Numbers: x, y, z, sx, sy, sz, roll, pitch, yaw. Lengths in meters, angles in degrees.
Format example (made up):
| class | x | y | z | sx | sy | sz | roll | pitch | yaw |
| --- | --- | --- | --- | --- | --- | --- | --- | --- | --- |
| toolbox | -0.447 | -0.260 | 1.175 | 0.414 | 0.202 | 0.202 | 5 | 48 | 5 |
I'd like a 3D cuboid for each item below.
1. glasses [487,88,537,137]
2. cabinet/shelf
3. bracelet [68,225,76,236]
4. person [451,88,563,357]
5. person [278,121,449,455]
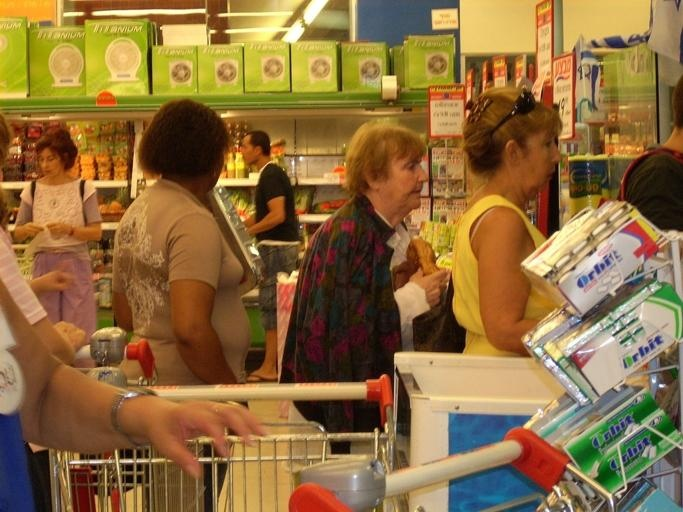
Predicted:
| class | x | y | z | sx | sy | sz | roll | pitch | yaw |
| --- | --- | --- | --- | --- | --- | --- | --- | --- | --- |
| glasses | 0.559 | -0.487 | 2.232 | 0.136 | 0.039 | 0.136 | -51 | 4 | 8 |
| cabinet/shelf | -0.843 | -0.301 | 4.139 | 2.289 | 1.622 | 0.805 | -1 | -2 | -3 |
| bracelet | -2.201 | -0.205 | 5.430 | 0.045 | 0.066 | 0.025 | -5 | 21 | -9 |
| person | 0.504 | -0.123 | 2.148 | 0.393 | 0.846 | 0.609 | -6 | 1 | 24 |
| person | 0.152 | 0.258 | 2.939 | 0.696 | 1.588 | 0.694 | -2 | 8 | 0 |
